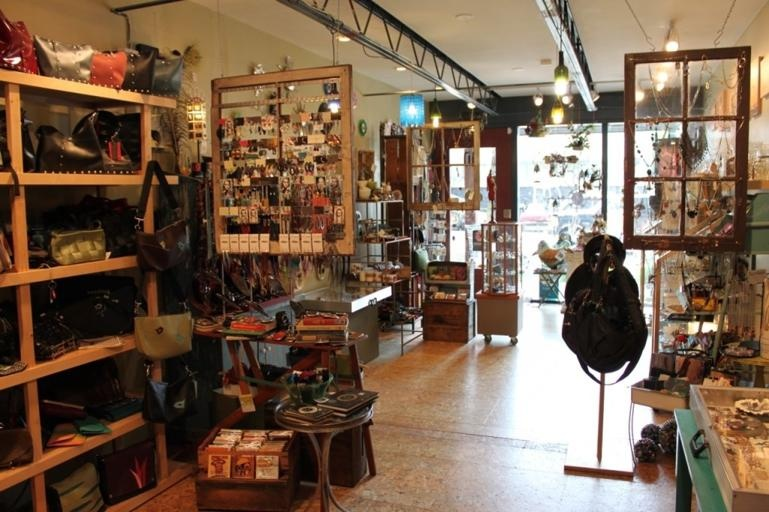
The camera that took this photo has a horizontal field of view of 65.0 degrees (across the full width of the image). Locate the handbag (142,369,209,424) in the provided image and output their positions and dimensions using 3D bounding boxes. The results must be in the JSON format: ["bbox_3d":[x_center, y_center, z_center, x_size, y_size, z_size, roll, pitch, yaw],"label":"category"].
[{"bbox_3d":[-1.937,1.274,5.618,0.372,0.477,0.654,7,4,29],"label":"handbag"}]

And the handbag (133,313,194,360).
[{"bbox_3d":[-2.055,0.713,5.566,0.494,0.388,0.200,-3,6,-30],"label":"handbag"}]

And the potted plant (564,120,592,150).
[{"bbox_3d":[4.097,-2.471,12.514,0.459,0.551,1.114,4,11,18],"label":"potted plant"}]

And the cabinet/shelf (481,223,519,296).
[{"bbox_3d":[1.909,0.011,9.735,0.697,1.155,0.395,0,10,-1],"label":"cabinet/shelf"}]

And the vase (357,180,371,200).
[{"bbox_3d":[-0.326,-1.081,9.834,0.287,0.353,0.291,1,1,10],"label":"vase"}]

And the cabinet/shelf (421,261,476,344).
[{"bbox_3d":[1.106,0.711,10.173,0.805,1.316,0.652,2,6,20],"label":"cabinet/shelf"}]

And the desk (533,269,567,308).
[{"bbox_3d":[3.600,0.660,13.120,0.770,0.756,0.744,1,7,18],"label":"desk"}]

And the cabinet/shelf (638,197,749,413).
[{"bbox_3d":[3.156,0.467,6.052,0.777,2.184,2.374,2,1,21],"label":"cabinet/shelf"}]

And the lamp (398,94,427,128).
[{"bbox_3d":[0.512,-2.629,10.836,0.433,0.564,0.841,0,10,1],"label":"lamp"}]

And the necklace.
[{"bbox_3d":[2.903,-0.815,5.760,1.061,1.356,0.073,1,-1,7],"label":"necklace"}]

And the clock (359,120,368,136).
[{"bbox_3d":[-0.379,-2.284,10.728,0.059,0.238,0.241,5,16,25],"label":"clock"}]

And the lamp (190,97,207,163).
[{"bbox_3d":[-2.120,-1.435,6.839,0.199,0.659,0.549,-3,11,-16],"label":"lamp"}]

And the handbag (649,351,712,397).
[{"bbox_3d":[3.198,1.139,6.472,0.394,0.561,0.597,13,-6,-42],"label":"handbag"}]

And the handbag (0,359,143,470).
[{"bbox_3d":[-2.839,1.328,5.262,0.650,0.256,0.848,2,9,19],"label":"handbag"}]

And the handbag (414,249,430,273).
[{"bbox_3d":[0.682,0.080,11.104,0.138,0.373,0.377,-9,5,25],"label":"handbag"}]

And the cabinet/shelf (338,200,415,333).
[{"bbox_3d":[-0.326,0.160,9.867,0.859,2.229,2.523,2,10,23],"label":"cabinet/shelf"}]

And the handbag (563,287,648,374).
[{"bbox_3d":[2.090,0.649,5.840,0.724,1.040,0.826,0,0,15],"label":"handbag"}]

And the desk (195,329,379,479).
[{"bbox_3d":[-0.837,1.208,6.179,1.771,1.528,1.401,-1,0,18],"label":"desk"}]

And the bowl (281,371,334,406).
[{"bbox_3d":[-0.658,1.108,5.132,0.407,0.254,0.432,-1,5,0],"label":"bowl"}]

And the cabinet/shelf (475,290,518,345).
[{"bbox_3d":[1.849,0.950,9.711,0.770,0.751,0.764,0,3,19],"label":"cabinet/shelf"}]

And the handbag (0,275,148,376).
[{"bbox_3d":[-2.804,0.575,5.261,0.674,0.331,0.921,0,4,32],"label":"handbag"}]
